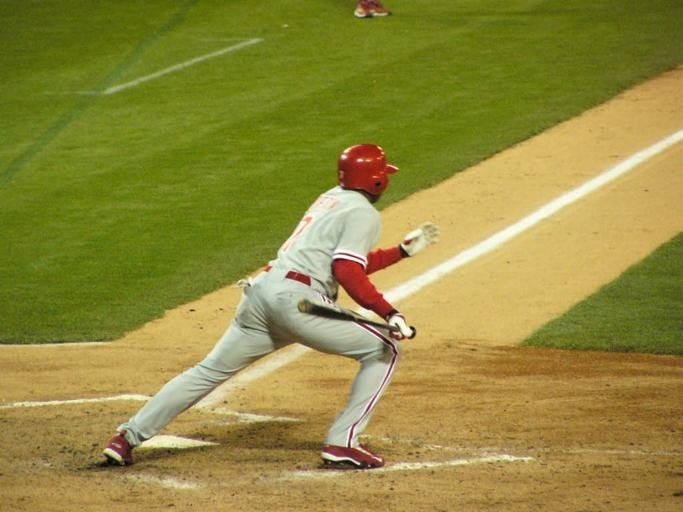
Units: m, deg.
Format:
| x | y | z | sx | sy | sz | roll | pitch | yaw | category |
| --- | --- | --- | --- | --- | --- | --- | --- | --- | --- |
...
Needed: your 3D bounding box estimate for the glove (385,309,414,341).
| x | y | z | sx | sy | sz | roll | pitch | yaw | category |
| --- | --- | --- | --- | --- | --- | --- | --- | --- | --- |
| 0.701 | 0.882 | 20.261 | 0.392 | 0.247 | 0.169 | 47 | -23 | 12 | glove |
